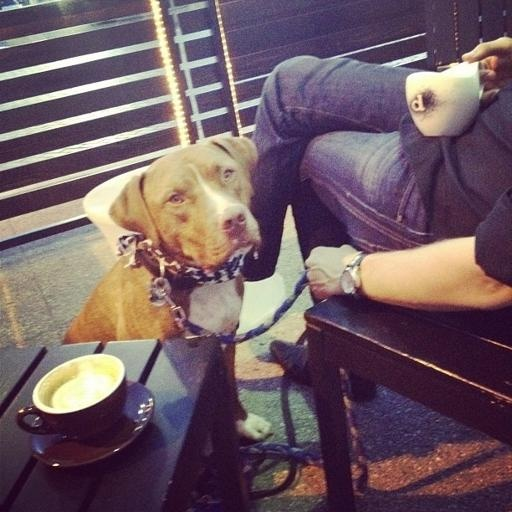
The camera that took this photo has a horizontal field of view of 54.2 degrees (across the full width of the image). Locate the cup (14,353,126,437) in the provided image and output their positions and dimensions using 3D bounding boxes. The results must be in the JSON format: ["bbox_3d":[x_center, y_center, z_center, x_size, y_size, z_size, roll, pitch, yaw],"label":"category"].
[{"bbox_3d":[-0.258,0.218,0.776,0.159,0.066,0.120,-24,50,-13],"label":"cup"}]

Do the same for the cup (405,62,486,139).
[{"bbox_3d":[0.373,-0.308,1.025,0.181,0.100,0.129,-39,22,-24],"label":"cup"}]
